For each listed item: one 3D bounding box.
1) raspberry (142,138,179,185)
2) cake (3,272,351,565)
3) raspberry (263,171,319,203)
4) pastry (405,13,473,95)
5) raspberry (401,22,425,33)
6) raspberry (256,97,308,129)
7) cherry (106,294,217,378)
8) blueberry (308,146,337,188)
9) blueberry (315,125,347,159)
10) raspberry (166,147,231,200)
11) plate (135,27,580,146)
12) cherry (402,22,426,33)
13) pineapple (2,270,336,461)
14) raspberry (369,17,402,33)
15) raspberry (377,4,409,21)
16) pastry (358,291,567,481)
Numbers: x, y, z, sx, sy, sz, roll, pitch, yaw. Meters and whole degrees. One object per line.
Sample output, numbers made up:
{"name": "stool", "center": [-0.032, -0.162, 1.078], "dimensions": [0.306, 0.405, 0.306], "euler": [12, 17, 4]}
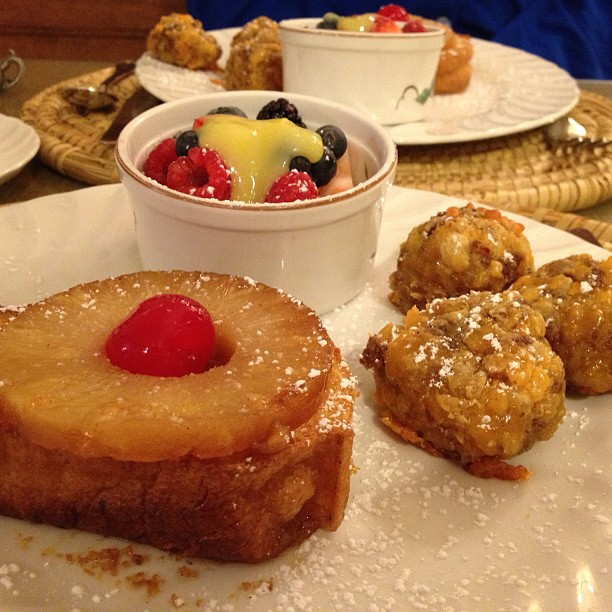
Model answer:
{"name": "raspberry", "center": [-0.289, -0.289, 1.454], "dimensions": [0.036, 0.071, 0.088], "euler": [34, 63, 1]}
{"name": "cake", "center": [-0.171, 0.122, 1.017], "dimensions": [0.488, 0.255, 0.395], "euler": [6, 44, 2]}
{"name": "raspberry", "center": [-0.018, -0.220, 1.384], "dimensions": [0.089, 0.042, 0.068], "euler": [-17, 11, -38]}
{"name": "pastry", "center": [0.486, -0.878, 2.589], "dimensions": [0.311, 0.109, 0.345], "euler": [1, 34, 2]}
{"name": "raspberry", "center": [0.342, -0.881, 2.315], "dimensions": [0.076, 0.046, 0.081], "euler": [8, 22, 8]}
{"name": "raspberry", "center": [-0.053, -0.419, 1.565], "dimensions": [0.079, 0.050, 0.099], "euler": [9, 10, 7]}
{"name": "cherry", "center": [-0.188, 0.057, 0.966], "dimensions": [0.127, 0.059, 0.112], "euler": [8, 39, 6]}
{"name": "blueberry", "center": [0.038, -0.277, 1.467], "dimensions": [0.072, 0.082, 0.059], "euler": [-7, 66, 7]}
{"name": "blueberry", "center": [0.061, -0.344, 1.549], "dimensions": [0.077, 0.071, 0.074], "euler": [2, 2, 28]}
{"name": "raspberry", "center": [-0.192, -0.253, 1.375], "dimensions": [0.135, 0.101, 0.047], "euler": [13, -9, 12]}
{"name": "plate", "center": [0.622, -0.700, 2.471], "dimensions": [1.157, 0.095, 0.923], "euler": [1, 29, 1]}
{"name": "cherry", "center": [0.344, -0.886, 2.322], "dimensions": [0.076, 0.046, 0.085], "euler": [3, 12, 9]}
{"name": "pineapple", "center": [-0.183, 0.054, 0.986], "dimensions": [0.451, 0.113, 0.337], "euler": [6, 42, 3]}
{"name": "raspberry", "center": [0.264, -0.879, 2.285], "dimensions": [0.088, 0.045, 0.092], "euler": [3, 11, 0]}
{"name": "raspberry", "center": [0.314, -1.038, 2.583], "dimensions": [0.103, 0.055, 0.107], "euler": [3, 12, -4]}
{"name": "pastry", "center": [0.262, 0.077, 1.217], "dimensions": [0.381, 0.251, 0.322], "euler": [13, 19, 43]}
